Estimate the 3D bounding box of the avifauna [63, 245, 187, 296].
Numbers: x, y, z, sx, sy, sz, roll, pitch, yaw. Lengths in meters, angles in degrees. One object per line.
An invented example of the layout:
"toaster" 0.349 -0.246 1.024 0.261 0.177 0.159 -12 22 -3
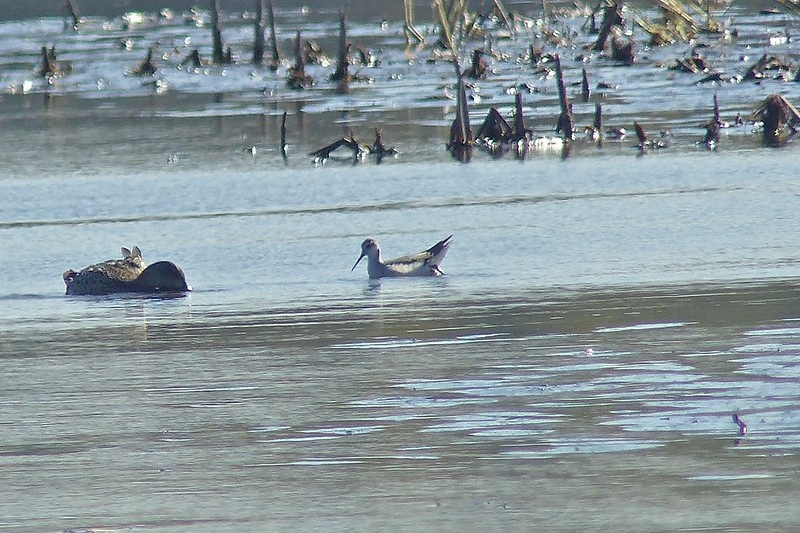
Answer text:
"avifauna" -6.358 0.113 43.513 1.801 0.512 1.427 -10 -5 42
